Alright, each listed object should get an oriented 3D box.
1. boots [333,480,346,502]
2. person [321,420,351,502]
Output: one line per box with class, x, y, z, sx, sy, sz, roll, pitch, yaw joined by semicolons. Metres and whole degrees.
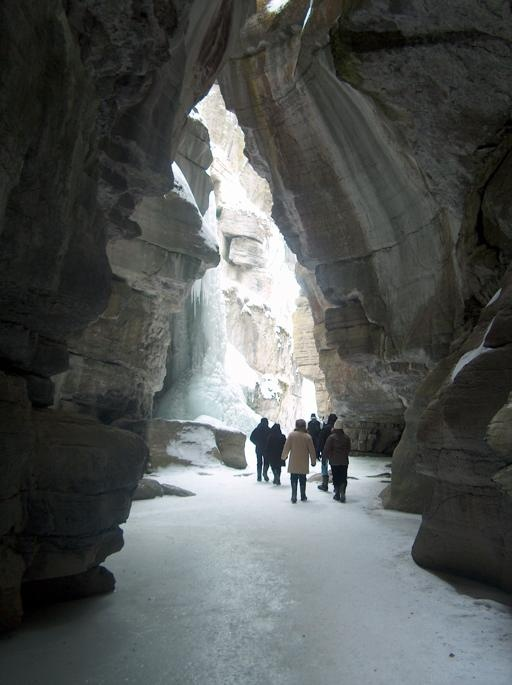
boots;1.109;2.004;6.824;0.104;0.221;0.317;2;-2;-4
person;1.088;1.597;6.920;0.346;1.074;0.588;6;-6;11
